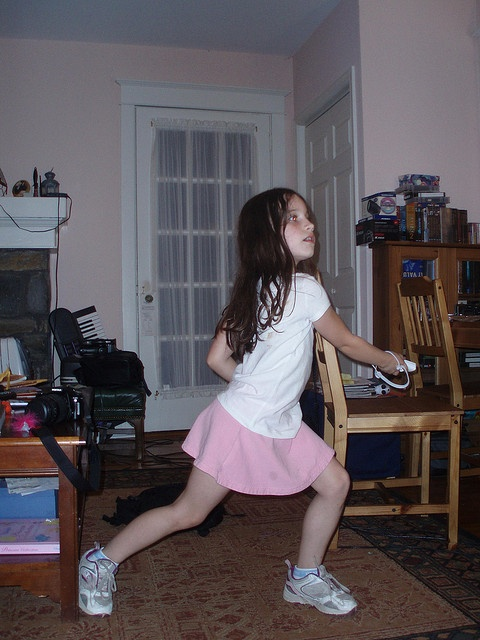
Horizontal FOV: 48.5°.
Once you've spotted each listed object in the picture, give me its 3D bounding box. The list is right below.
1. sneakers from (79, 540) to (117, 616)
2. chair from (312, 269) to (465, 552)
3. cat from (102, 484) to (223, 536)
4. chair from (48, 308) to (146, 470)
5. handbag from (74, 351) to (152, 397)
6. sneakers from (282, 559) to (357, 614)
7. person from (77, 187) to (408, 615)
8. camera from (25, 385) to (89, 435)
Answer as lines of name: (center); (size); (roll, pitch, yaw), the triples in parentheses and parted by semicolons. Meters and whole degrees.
sneakers: (-0.325, 0.602, 1.288); (0.082, 0.196, 0.071); (-18, -14, 35)
chair: (0.359, 0.301, 2.118); (0.615, 1.083, 0.635); (-2, 7, -2)
cat: (-0.298, 0.689, 2.019); (0.311, 0.116, 0.273); (4, 10, -20)
chair: (-0.901, 0.472, 3.112); (0.599, 0.914, 0.641); (-14, -16, 29)
handbag: (-0.735, 0.269, 3.113); (0.386, 0.238, 0.317); (1, 18, 2)
sneakers: (0.198, 0.664, 1.346); (0.189, 0.100, 0.085); (4, 2, 30)
person: (0.041, 0.194, 1.316); (0.733, 1.046, 0.360); (-1, -3, 17)
camera: (-0.453, 0.207, 1.327); (0.118, 0.076, 0.149); (6, 7, -3)
